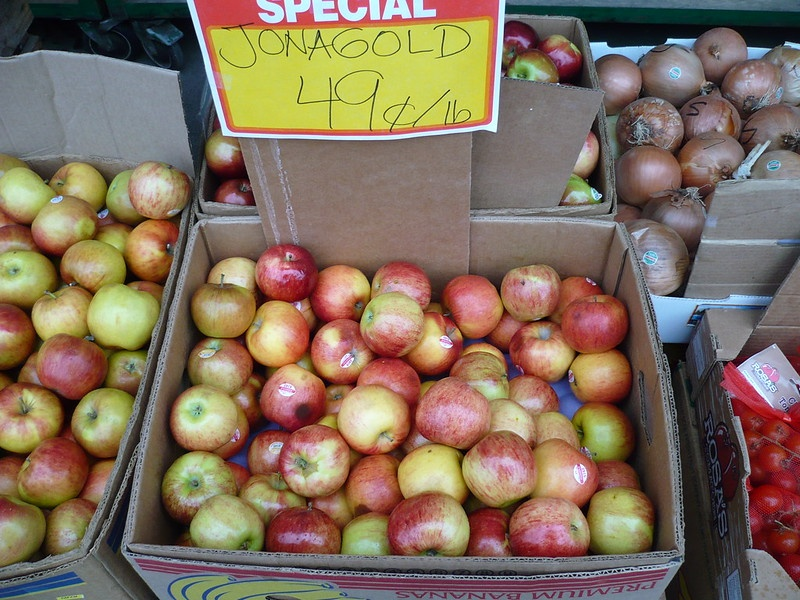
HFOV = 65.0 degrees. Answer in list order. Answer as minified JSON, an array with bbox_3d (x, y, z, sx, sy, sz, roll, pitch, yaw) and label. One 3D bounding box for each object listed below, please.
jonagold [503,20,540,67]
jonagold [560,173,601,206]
[{"bbox_3d":[0.636,-1.401,3.385,0.241,0.252,0.270,0,40,14],"label":"jonagold"},{"bbox_3d":[0.838,-0.519,2.952,0.152,0.119,0.123,27,30,3],"label":"jonagold"}]
